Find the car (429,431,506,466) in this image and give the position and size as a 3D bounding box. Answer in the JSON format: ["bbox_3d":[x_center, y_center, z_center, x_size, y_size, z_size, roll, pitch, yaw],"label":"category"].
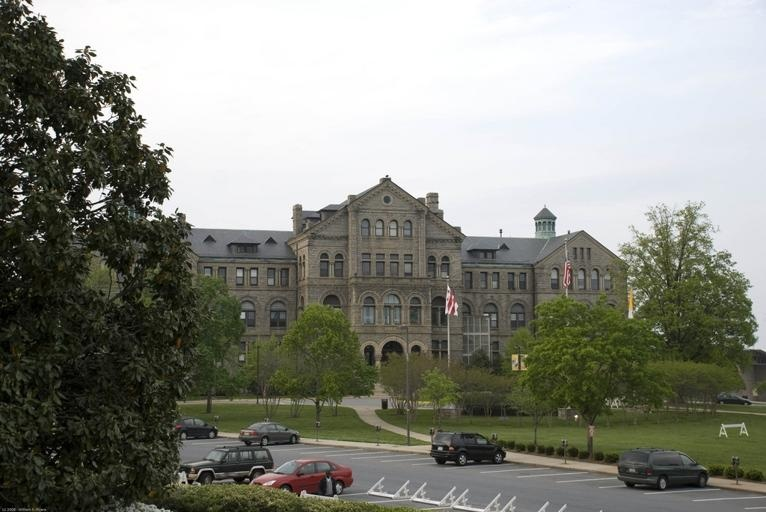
[{"bbox_3d":[4.697,10.634,62.953,4.294,1.697,2.114,5,-8,-34],"label":"car"}]

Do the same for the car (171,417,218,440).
[{"bbox_3d":[-12.151,11.134,73.499,2.655,1.379,1.535,5,-12,-24],"label":"car"}]

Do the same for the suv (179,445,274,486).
[{"bbox_3d":[-7.547,10.115,54.844,4.453,1.756,2.022,3,-4,-36],"label":"suv"}]

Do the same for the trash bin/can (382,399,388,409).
[{"bbox_3d":[0.053,12.675,97.361,0.691,0.872,0.649,0,-7,-7],"label":"trash bin/can"}]

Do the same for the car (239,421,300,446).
[{"bbox_3d":[-7.151,11.106,71.191,3.454,1.429,1.403,6,-13,-31],"label":"car"}]
